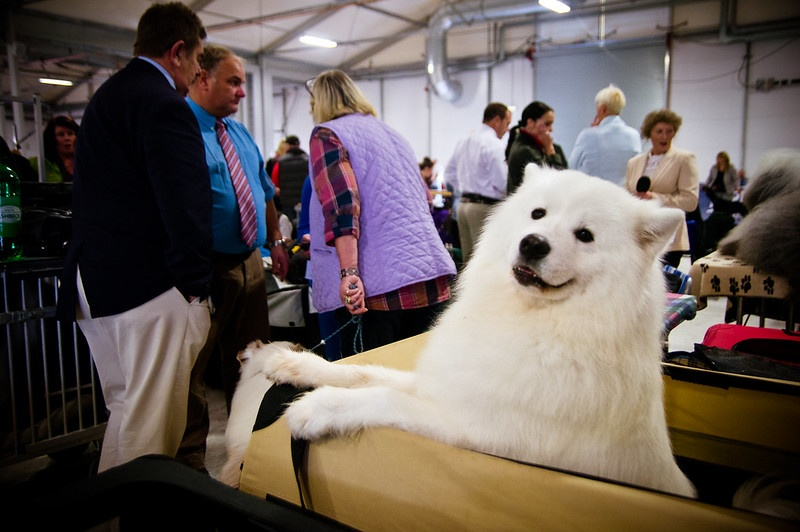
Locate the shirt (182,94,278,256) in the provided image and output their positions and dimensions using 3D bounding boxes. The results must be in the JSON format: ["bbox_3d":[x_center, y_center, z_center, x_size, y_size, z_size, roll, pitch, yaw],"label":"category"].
[{"bbox_3d":[-0.974,-0.486,3.595,0.735,0.767,0.312,-15,10,-43],"label":"shirt"}]

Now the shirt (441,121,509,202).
[{"bbox_3d":[0.745,-0.947,5.881,0.346,0.649,0.748,-6,12,-39],"label":"shirt"}]

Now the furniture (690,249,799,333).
[{"bbox_3d":[1.801,0.099,3.445,0.589,0.297,0.610,2,0,28],"label":"furniture"}]

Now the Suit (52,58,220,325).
[{"bbox_3d":[-1.250,-0.351,2.978,0.684,1.201,0.289,1,11,6],"label":"Suit"}]

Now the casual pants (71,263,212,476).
[{"bbox_3d":[-1.340,0.587,3.107,0.331,0.830,0.277,9,10,10],"label":"casual pants"}]
